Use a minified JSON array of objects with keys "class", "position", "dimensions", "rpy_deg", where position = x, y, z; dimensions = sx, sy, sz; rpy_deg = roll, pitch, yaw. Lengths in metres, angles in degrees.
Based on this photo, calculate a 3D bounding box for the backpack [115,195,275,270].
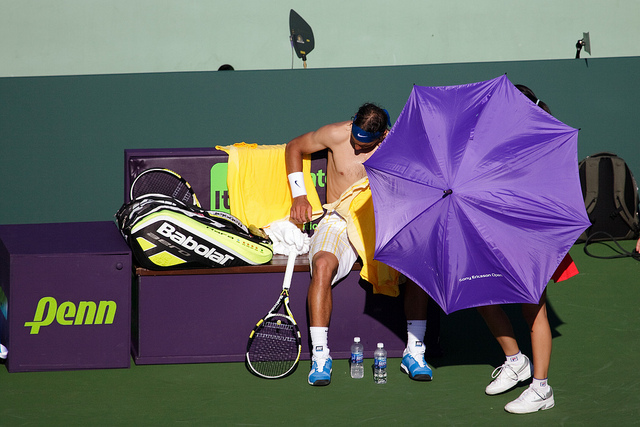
[{"class":"backpack","position":[-1.108,0.207,7.094],"dimensions":[1.131,0.493,0.627],"rpy_deg":[4,5,-13]}]

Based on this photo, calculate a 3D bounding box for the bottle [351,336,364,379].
[{"class":"bottle","position":[0.315,1.204,7.003],"dimensions":[0.113,0.336,0.280],"rpy_deg":[-3,4,4]}]

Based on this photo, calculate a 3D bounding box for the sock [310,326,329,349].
[{"class":"sock","position":[-0.012,1.040,6.888],"dimensions":[0.162,0.194,0.136],"rpy_deg":[12,-32,-39]}]

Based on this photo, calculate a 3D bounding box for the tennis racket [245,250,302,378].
[{"class":"tennis racket","position":[-0.318,0.767,6.803],"dimensions":[0.478,1.449,0.098],"rpy_deg":[5,23,-16]}]

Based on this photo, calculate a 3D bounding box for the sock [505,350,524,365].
[{"class":"sock","position":[1.566,1.158,6.644],"dimensions":[0.101,0.082,0.090],"rpy_deg":[-23,-8,25]}]

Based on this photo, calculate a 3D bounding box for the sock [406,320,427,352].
[{"class":"sock","position":[0.802,1.017,6.949],"dimensions":[0.153,0.311,0.242],"rpy_deg":[1,-3,-2]}]

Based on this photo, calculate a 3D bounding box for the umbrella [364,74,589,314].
[{"class":"umbrella","position":[1.193,-0.135,6.339],"dimensions":[1.600,1.820,0.559],"rpy_deg":[-3,4,3]}]

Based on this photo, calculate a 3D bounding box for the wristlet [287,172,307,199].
[{"class":"wristlet","position":[-0.194,-0.250,7.790],"dimensions":[0.192,0.323,0.202],"rpy_deg":[-9,-14,-1]}]

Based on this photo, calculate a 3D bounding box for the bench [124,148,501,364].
[{"class":"bench","position":[0.046,0.458,7.680],"dimensions":[3.835,2.312,1.548],"rpy_deg":[0,8,28]}]

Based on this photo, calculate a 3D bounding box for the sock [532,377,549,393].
[{"class":"sock","position":[1.739,1.349,6.484],"dimensions":[0.116,0.129,0.074],"rpy_deg":[0,10,-9]}]

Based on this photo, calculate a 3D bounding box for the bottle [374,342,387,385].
[{"class":"bottle","position":[0.502,1.248,6.916],"dimensions":[0.111,0.318,0.254],"rpy_deg":[-3,4,4]}]
